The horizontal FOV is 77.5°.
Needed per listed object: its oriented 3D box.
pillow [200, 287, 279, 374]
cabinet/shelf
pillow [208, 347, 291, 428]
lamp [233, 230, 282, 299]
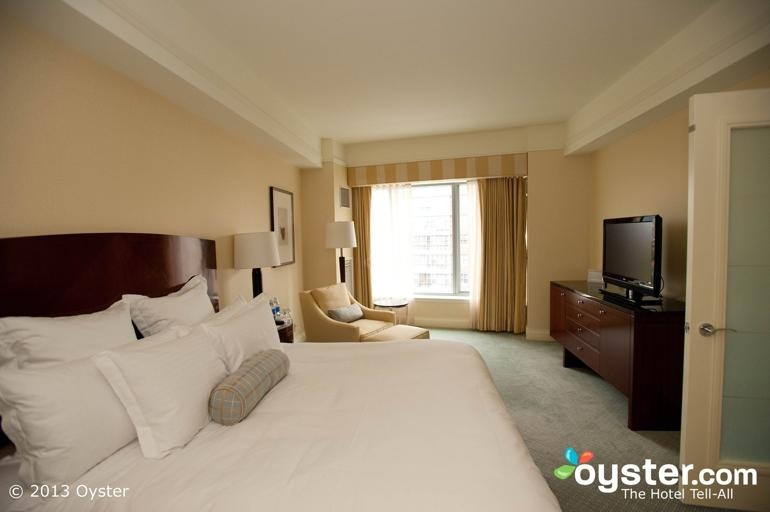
[{"bbox_3d":[-1.175,0.601,3.803,0.179,0.392,0.573,-28,-4,17],"label":"pillow"},{"bbox_3d":[2.474,0.928,5.333,0.590,1.025,2.045,-1,6,0],"label":"cabinet/shelf"},{"bbox_3d":[-0.987,0.919,3.500,0.245,0.217,0.582,16,13,14],"label":"pillow"},{"bbox_3d":[-1.400,0.118,5.176,0.508,0.745,0.520,-2,4,18],"label":"lamp"}]
